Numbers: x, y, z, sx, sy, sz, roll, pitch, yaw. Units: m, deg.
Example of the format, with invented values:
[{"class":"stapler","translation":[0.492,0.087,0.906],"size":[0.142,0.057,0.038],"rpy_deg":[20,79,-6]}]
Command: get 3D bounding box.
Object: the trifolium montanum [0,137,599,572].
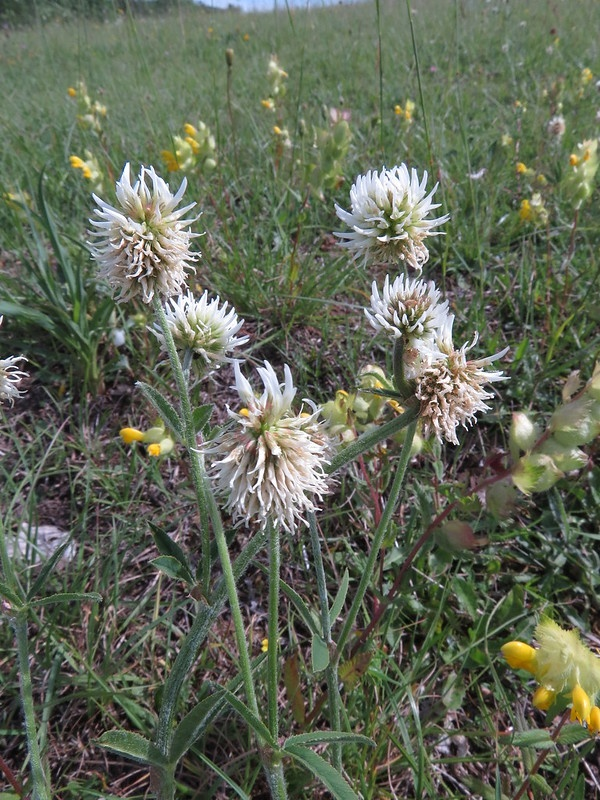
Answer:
[{"class":"trifolium montanum","translation":[0.068,0.045,1.628],"size":[1.051,0.960,1.123],"rpy_deg":[1,38,-3]}]
